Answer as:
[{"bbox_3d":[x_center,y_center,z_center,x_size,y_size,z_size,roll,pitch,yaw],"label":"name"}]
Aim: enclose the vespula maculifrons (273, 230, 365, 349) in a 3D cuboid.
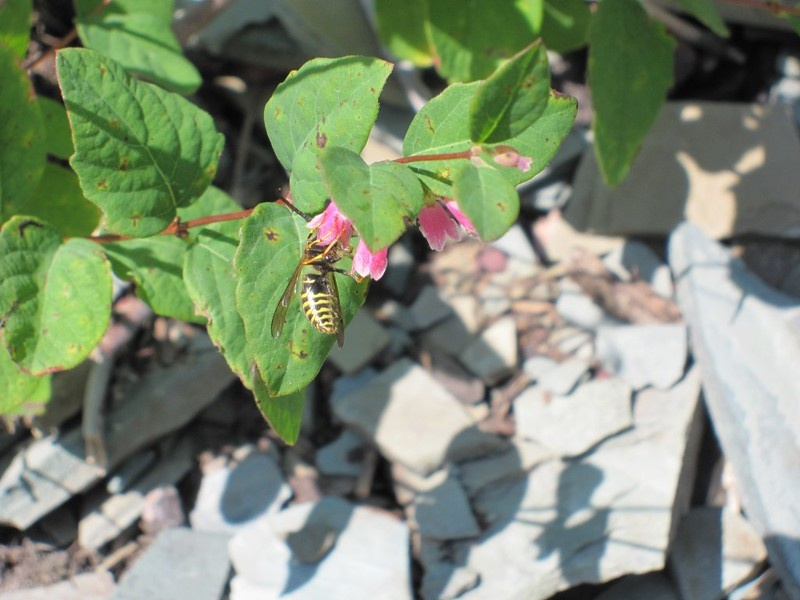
[{"bbox_3d":[-0.146,-0.030,1.579,0.109,0.048,0.158,-37,0,30],"label":"vespula maculifrons"}]
